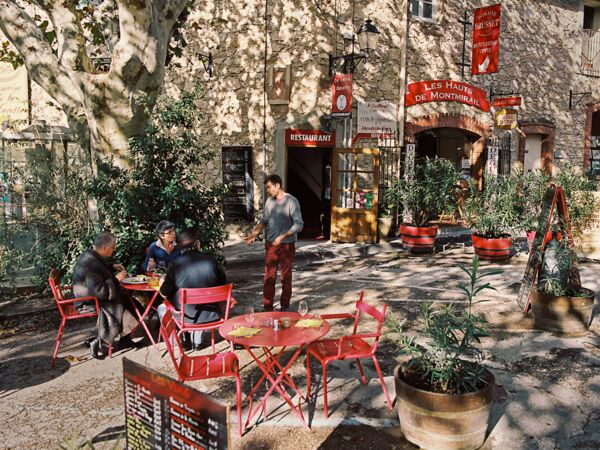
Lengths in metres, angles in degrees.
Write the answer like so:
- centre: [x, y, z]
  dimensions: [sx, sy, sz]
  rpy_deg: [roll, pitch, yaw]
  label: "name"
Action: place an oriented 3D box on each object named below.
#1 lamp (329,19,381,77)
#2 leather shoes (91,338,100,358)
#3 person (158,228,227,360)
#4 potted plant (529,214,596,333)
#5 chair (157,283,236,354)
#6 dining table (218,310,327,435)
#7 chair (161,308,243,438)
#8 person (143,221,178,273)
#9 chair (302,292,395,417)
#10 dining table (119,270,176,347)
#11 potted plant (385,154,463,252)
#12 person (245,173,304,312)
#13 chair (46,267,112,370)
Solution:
- centre: [1.575, -5.287, 15.212]
  dimensions: [1.256, 1.391, 1.483]
  rpy_deg: [0, 2, -7]
  label: "lamp"
- centre: [-3.050, 1.817, 7.493]
  dimensions: [0.094, 0.136, 0.294]
  rpy_deg: [-2, 26, -34]
  label: "leather shoes"
- centre: [-1.566, 0.914, 7.292]
  dimensions: [0.664, 1.869, 0.908]
  rpy_deg: [-1, 2, -26]
  label: "person"
- centre: [4.303, 0.847, 8.211]
  dimensions: [0.762, 1.625, 0.939]
  rpy_deg: [6, 8, 19]
  label: "potted plant"
- centre: [-1.357, 1.213, 6.755]
  dimensions: [0.909, 1.060, 0.880]
  rpy_deg: [-1, 9, -23]
  label: "chair"
- centre: [-0.308, 1.750, 6.349]
  dimensions: [1.167, 1.122, 1.318]
  rpy_deg: [0, 6, -2]
  label: "dining table"
- centre: [-1.267, 1.710, 6.546]
  dimensions: [0.997, 1.380, 1.679]
  rpy_deg: [0, 2, -8]
  label: "chair"
- centre: [-2.229, 0.412, 8.240]
  dimensions: [0.645, 0.967, 0.630]
  rpy_deg: [2, 5, -22]
  label: "person"
- centre: [0.579, 1.545, 6.666]
  dimensions: [0.923, 1.649, 0.944]
  rpy_deg: [-1, 5, -19]
  label: "chair"
- centre: [-2.450, 1.200, 8.081]
  dimensions: [1.117, 1.169, 1.166]
  rpy_deg: [-2, 6, -18]
  label: "dining table"
- centre: [3.484, -0.628, 14.080]
  dimensions: [1.828, 2.684, 1.864]
  rpy_deg: [1, 2, 18]
  label: "potted plant"
- centre: [-0.445, 0.369, 9.013]
  dimensions: [0.873, 2.468, 0.772]
  rpy_deg: [3, 9, 13]
  label: "person"
- centre: [-3.460, 1.228, 7.703]
  dimensions: [0.775, 1.940, 0.673]
  rpy_deg: [0, 1, 2]
  label: "chair"
